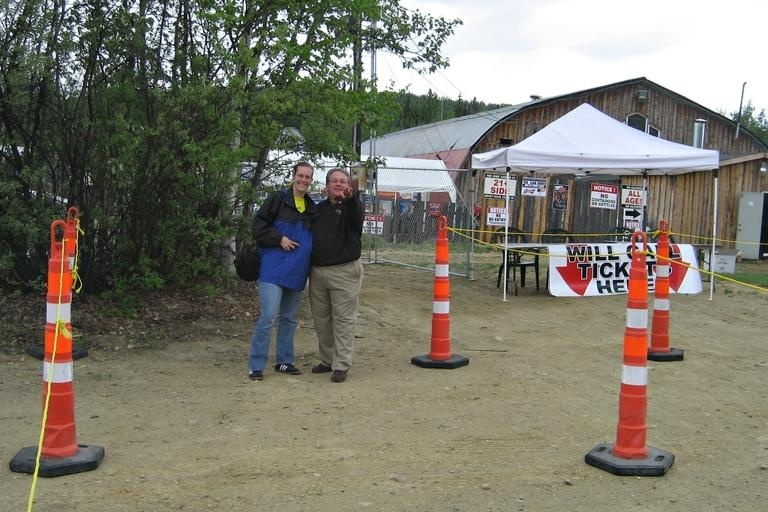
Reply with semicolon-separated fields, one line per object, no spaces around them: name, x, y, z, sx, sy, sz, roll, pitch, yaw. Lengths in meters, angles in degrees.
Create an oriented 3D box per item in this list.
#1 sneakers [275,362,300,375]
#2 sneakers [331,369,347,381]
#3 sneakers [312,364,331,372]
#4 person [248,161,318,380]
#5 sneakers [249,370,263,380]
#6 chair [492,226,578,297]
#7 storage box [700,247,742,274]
sneakers;-1.156;1.359;9.006;0.322;0.109;0.114;1;1;5
sneakers;-0.531;1.397;8.782;0.113;0.099;0.271;-1;-8;8
sneakers;-0.759;1.370;9.144;0.268;0.098;0.083;3;-3;-7
person;-1.226;0.207;8.885;0.667;2.535;1.093;5;16;10
sneakers;-1.481;1.389;8.789;0.162;0.135;0.084;11;-1;-1
chair;3.083;0.162;15.698;1.665;1.207;0.986;-1;11;-7
storage box;7.760;0.125;17.564;0.788;0.451;0.389;1;0;-7
